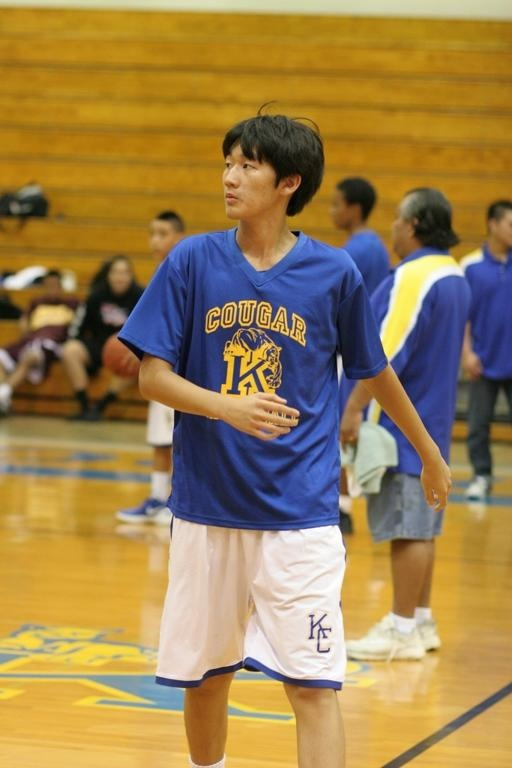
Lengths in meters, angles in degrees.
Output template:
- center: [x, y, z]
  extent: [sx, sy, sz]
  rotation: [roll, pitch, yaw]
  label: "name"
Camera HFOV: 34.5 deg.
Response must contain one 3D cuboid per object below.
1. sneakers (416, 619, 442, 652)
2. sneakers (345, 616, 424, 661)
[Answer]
- center: [0.570, 0.840, 2.754]
  extent: [0.061, 0.076, 0.114]
  rotation: [1, 12, 2]
  label: "sneakers"
- center: [0.421, 0.840, 2.738]
  extent: [0.306, 0.179, 0.109]
  rotation: [2, -6, 1]
  label: "sneakers"
